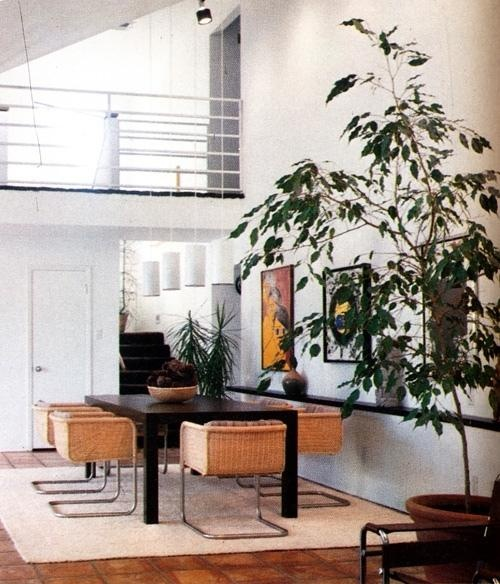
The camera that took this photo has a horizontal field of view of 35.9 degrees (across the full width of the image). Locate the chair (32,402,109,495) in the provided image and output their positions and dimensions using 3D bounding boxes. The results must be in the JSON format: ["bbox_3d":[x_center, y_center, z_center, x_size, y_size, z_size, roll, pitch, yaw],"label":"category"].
[{"bbox_3d":[-1.252,1.153,5.557,0.587,0.569,0.597,7,-1,38],"label":"chair"}]

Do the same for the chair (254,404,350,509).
[{"bbox_3d":[0.419,1.157,5.449,0.585,0.697,0.632,-3,-11,13],"label":"chair"}]

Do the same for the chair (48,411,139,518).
[{"bbox_3d":[-1.078,1.108,5.087,0.532,0.667,0.614,1,-1,-23],"label":"chair"}]

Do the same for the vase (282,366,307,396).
[{"bbox_3d":[0.360,0.784,6.668,0.211,0.284,0.211,-4,-6,19],"label":"vase"}]

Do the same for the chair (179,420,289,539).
[{"bbox_3d":[-0.090,1.058,4.541,0.550,0.666,0.624,4,-6,-28],"label":"chair"}]
